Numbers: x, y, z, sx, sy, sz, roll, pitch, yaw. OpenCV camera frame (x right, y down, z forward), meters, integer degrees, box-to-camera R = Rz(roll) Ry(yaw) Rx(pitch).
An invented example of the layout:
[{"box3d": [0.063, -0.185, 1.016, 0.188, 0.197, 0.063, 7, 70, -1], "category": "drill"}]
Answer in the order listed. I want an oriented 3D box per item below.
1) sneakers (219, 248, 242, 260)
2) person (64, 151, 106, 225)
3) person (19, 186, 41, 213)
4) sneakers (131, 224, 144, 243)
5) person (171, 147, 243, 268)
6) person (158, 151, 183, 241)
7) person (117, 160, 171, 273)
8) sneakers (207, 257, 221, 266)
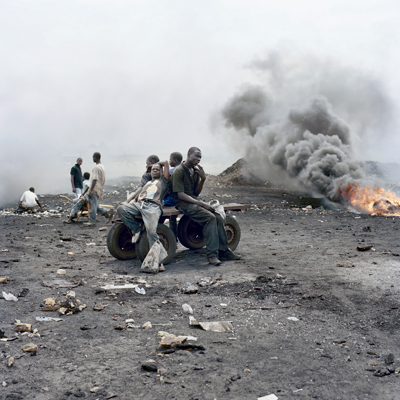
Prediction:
[{"box3d": [0.488, 0.939, 7.361, 0.385, 0.291, 0.164, -3, 5, -5], "category": "sneakers"}, {"box3d": [-2.875, -0.309, 11.231, 0.915, 1.796, 0.766, 4, 0, 3], "category": "person"}, {"box3d": [-5.253, 0.105, 13.548, 0.621, 1.109, 0.604, -3, 11, -26], "category": "person"}, {"box3d": [-0.965, 0.548, 6.797, 0.115, 0.331, 0.139, 2, -24, 47], "category": "sneakers"}, {"box3d": [0.065, 0.079, 7.185, 1.055, 1.849, 0.895, 2, 10, -4], "category": "person"}, {"box3d": [-0.497, -0.175, 7.457, 0.345, 1.292, 0.391, 17, 18, 8], "category": "person"}, {"box3d": [-0.851, 0.221, 6.750, 0.707, 1.525, 1.145, 2, 10, -5], "category": "person"}, {"box3d": [0.236, 0.984, 6.986, 0.174, 0.107, 0.272, 0, 10, -19], "category": "sneakers"}]
